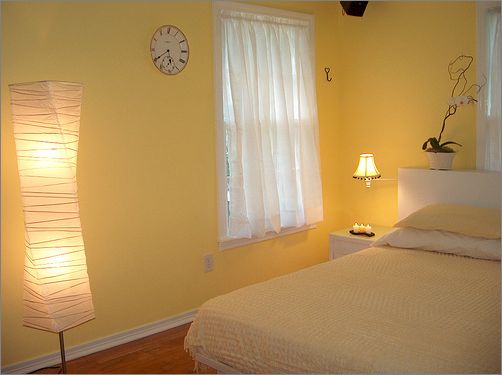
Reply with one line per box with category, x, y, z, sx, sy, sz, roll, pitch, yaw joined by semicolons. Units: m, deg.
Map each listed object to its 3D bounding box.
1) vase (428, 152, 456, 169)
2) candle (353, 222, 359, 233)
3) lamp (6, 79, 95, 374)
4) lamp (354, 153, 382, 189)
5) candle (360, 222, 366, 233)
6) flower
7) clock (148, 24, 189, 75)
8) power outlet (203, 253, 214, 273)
vase;1.659;-0.237;3.542;0.157;0.112;0.172;2;6;2
candle;1.017;0.393;3.962;0.065;0.135;0.071;2;2;11
lamp;-1.205;0.119;2.463;0.485;1.493;0.283;-7;12;-25
lamp;1.150;-0.197;3.888;0.282;0.411;0.299;-8;11;-37
candle;1.066;0.402;3.893;0.057;0.074;0.057;4;-4;-40
flower;1.780;-0.745;3.533;0.431;0.826;0.338;5;13;32
clock;-0.655;-1.096;3.223;0.296;0.408;0.052;-2;37;-16
power outlet;-0.377;0.653;3.526;0.021;0.225;0.147;4;4;41
